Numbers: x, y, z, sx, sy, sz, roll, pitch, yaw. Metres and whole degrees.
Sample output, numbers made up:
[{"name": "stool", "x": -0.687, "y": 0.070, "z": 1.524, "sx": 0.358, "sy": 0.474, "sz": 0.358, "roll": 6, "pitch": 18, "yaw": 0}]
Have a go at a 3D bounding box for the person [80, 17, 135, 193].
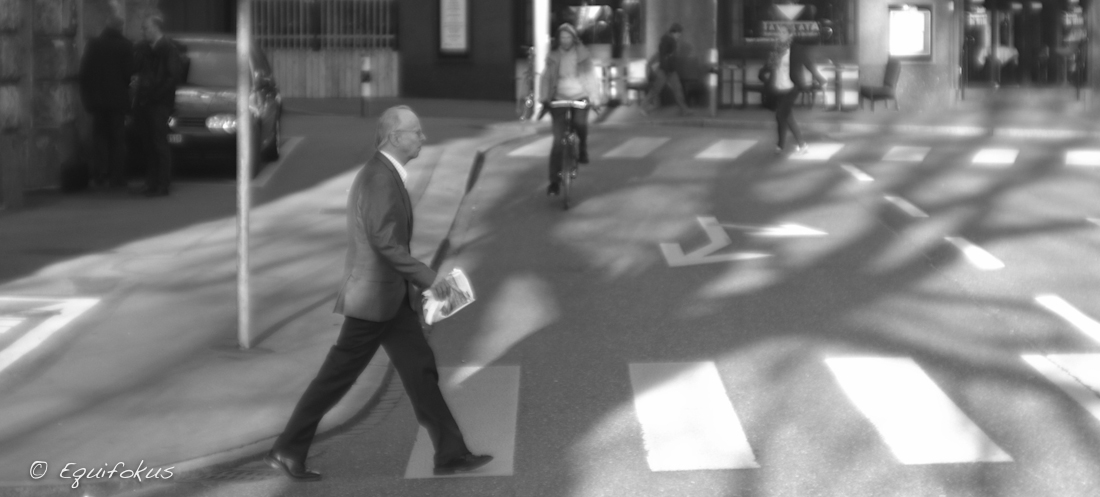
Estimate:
[{"name": "person", "x": -9.485, "y": -3.139, "z": 17.025, "sx": 1.202, "sy": 3.561, "sz": 0.660, "roll": -5, "pitch": 16, "yaw": -17}]
